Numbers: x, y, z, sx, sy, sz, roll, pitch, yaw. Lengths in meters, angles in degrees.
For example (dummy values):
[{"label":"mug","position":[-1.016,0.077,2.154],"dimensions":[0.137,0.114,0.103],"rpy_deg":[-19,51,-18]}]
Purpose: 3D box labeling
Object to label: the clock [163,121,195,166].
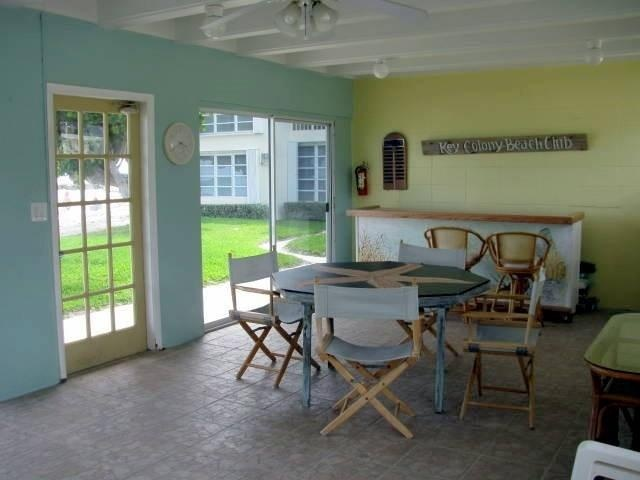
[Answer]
[{"label":"clock","position":[-1.510,-1.039,5.158],"dimensions":[0.040,0.446,0.471],"rpy_deg":[9,10,23]}]
